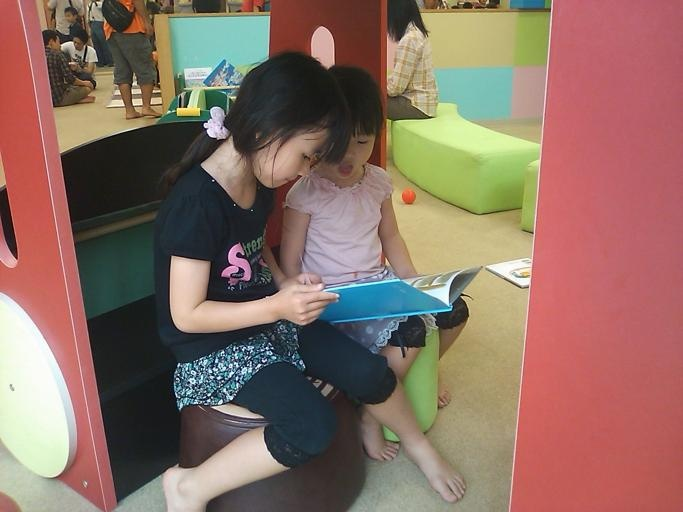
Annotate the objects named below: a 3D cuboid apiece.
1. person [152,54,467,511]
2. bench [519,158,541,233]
[{"bbox_3d":[-0.161,0.110,1.398,0.716,1.174,0.478,-12,25,-24],"label":"person"},{"bbox_3d":[1.100,-0.346,3.136,0.067,0.404,0.391,6,25,17],"label":"bench"}]
